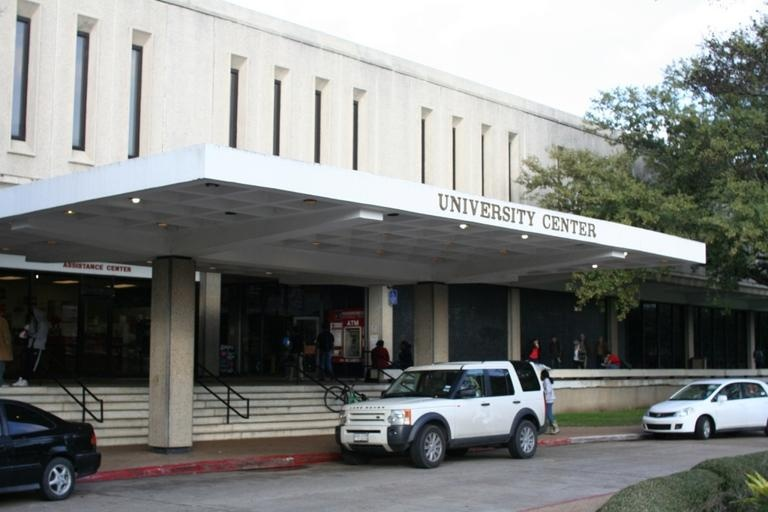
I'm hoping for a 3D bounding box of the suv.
[{"bbox_3d":[1.960,4.376,22.687,4.960,2.085,2.798,12,-17,-42],"label":"suv"}]

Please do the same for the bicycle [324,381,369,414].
[{"bbox_3d":[-1.596,5.354,30.668,2.088,1.283,1.036,3,-4,18],"label":"bicycle"}]
